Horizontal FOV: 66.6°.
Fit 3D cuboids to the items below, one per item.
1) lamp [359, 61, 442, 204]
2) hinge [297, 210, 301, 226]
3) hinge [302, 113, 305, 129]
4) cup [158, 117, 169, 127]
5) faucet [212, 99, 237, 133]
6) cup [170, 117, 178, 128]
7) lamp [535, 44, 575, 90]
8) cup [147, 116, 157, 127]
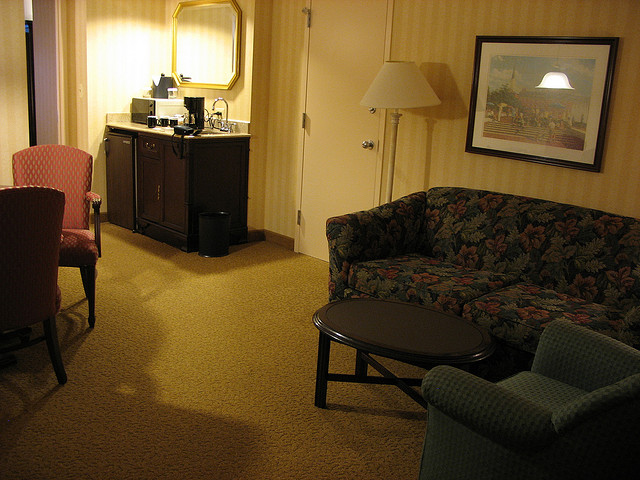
[{"bbox_3d":[0.603,-0.816,3.743,0.538,1.093,0.418,11,19,25],"label":"lamp"},{"bbox_3d":[-0.216,-0.234,4.931,0.053,0.150,0.015,14,20,32],"label":"hinge"},{"bbox_3d":[-0.164,-1.169,4.748,0.020,0.142,0.037,1,17,-9],"label":"hinge"},{"bbox_3d":[-1.711,-1.294,5.309,0.114,0.079,0.086,-11,21,-38],"label":"cup"},{"bbox_3d":[-1.018,-1.330,5.171,0.185,0.326,0.415,-4,18,-23],"label":"faucet"},{"bbox_3d":[-1.598,-1.283,5.305,0.081,0.086,0.072,-2,17,-16],"label":"cup"},{"bbox_3d":[1.598,-1.119,3.297,0.152,0.206,0.150,18,34,33],"label":"lamp"},{"bbox_3d":[-1.812,-1.283,5.252,0.095,0.112,0.096,3,17,-1],"label":"cup"}]
